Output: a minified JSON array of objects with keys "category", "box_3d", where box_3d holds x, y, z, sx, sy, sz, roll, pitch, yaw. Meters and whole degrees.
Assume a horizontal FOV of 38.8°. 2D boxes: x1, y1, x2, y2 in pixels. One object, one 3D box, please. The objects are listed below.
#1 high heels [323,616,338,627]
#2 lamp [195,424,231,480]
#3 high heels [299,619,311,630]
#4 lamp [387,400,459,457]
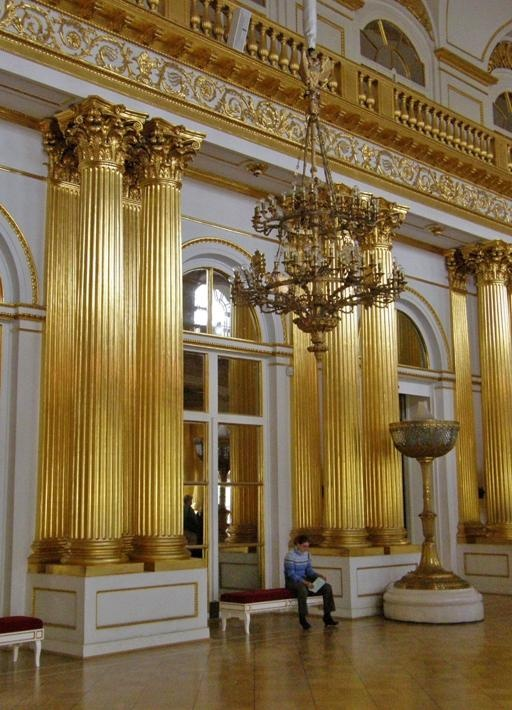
[{"category":"high heels","box_3d":[0.678,2.405,6.581,0.121,0.086,0.092,0,-8,-7]},{"category":"lamp","box_3d":[-0.377,1.049,7.767,0.449,0.706,0.501,-2,-15,0]},{"category":"high heels","box_3d":[0.425,2.360,6.352,0.098,0.098,0.052,-14,-14,33]},{"category":"lamp","box_3d":[1.745,0.779,7.579,0.575,0.510,0.551,-7,-12,26]}]
